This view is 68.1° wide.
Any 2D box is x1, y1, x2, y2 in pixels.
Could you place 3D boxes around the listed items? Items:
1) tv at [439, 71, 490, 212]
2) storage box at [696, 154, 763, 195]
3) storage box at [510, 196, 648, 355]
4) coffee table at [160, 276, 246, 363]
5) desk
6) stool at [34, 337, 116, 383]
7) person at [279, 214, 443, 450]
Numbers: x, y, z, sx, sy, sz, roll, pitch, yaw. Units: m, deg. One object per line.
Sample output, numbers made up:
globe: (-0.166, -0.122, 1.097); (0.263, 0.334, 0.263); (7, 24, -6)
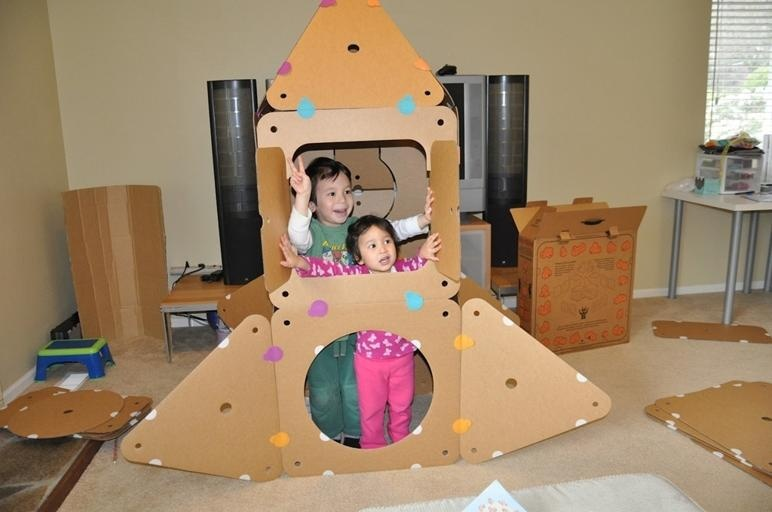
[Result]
tv: (0.496, -0.711, 3.651); (0.303, 0.869, 0.131); (-3, 13, -2)
storage box: (2.368, -0.565, 3.974); (0.311, 0.240, 0.317); (1, 6, -3)
storage box: (1.125, 0.041, 3.874); (0.908, 1.267, 0.870); (-3, 9, -11)
coffee table: (-1.249, 0.389, 3.700); (0.433, 0.462, 0.508); (-13, 16, -41)
desk: (2.490, -0.063, 4.055); (0.776, 0.908, 0.759); (-4, 13, -10)
stool: (-1.866, 0.592, 3.405); (0.328, 0.153, 0.256); (0, 2, 0)
person: (-0.090, 0.395, 2.748); (0.706, 1.153, 0.390); (-1, 13, 4)
